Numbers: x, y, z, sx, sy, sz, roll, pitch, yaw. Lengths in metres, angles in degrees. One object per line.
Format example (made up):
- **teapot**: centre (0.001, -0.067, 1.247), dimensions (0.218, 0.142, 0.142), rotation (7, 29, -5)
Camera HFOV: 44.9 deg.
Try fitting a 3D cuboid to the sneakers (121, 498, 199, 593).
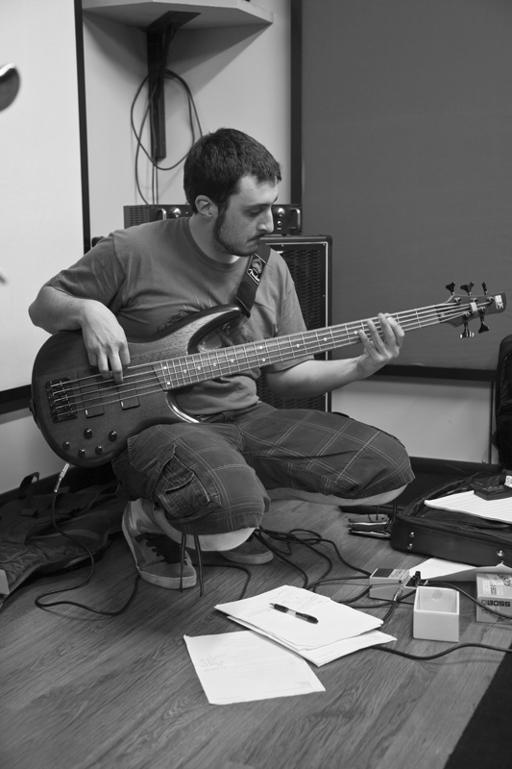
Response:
- **sneakers**: centre (-0.257, 0.378, 1.559), dimensions (0.106, 0.129, 0.305), rotation (-12, 19, -27)
